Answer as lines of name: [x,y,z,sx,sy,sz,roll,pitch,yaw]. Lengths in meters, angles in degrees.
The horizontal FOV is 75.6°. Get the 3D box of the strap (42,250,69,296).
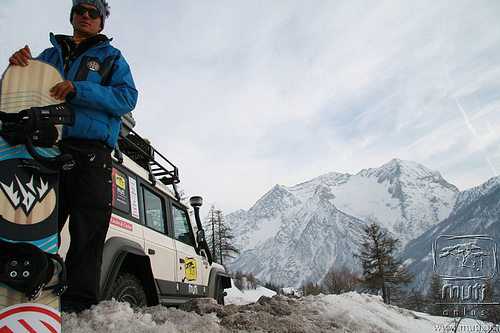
strap: [-1.759,1.011,3.023,0.277,0.147,0.384,31,-21,50]

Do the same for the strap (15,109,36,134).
strap: [-2.067,-0.428,2.985,0.174,0.209,0.139,14,-28,-33]
